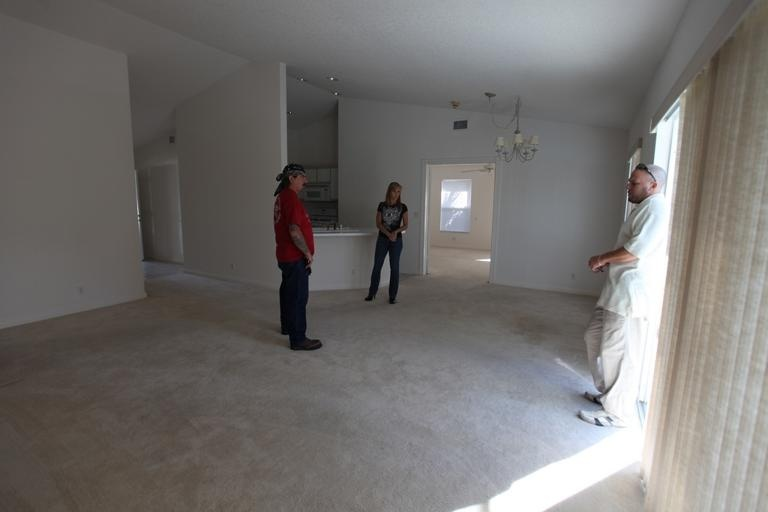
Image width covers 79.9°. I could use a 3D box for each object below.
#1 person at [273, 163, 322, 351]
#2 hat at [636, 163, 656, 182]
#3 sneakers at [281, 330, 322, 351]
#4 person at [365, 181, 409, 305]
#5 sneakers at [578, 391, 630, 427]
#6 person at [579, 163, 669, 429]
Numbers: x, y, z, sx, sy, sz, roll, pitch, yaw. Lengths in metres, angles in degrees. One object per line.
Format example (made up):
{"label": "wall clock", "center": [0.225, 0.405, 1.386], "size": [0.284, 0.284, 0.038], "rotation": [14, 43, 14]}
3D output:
{"label": "person", "center": [-0.824, 0.027, 4.438], "size": [0.464, 1.795, 0.324], "rotation": [1, 9, -2]}
{"label": "hat", "center": [1.910, -0.610, 3.349], "size": [0.138, 0.122, 0.095], "rotation": [4, 9, 16]}
{"label": "sneakers", "center": [-0.779, 0.843, 4.561], "size": [0.289, 0.191, 0.128], "rotation": [-6, 8, -17]}
{"label": "person", "center": [0.032, -0.195, 6.222], "size": [0.539, 1.592, 0.556], "rotation": [1, 9, -2]}
{"label": "sneakers", "center": [1.682, 1.203, 3.584], "size": [0.149, 0.248, 0.371], "rotation": [5, -4, -44]}
{"label": "person", "center": [1.814, 0.300, 3.471], "size": [0.501, 1.976, 0.467], "rotation": [7, 11, 29]}
